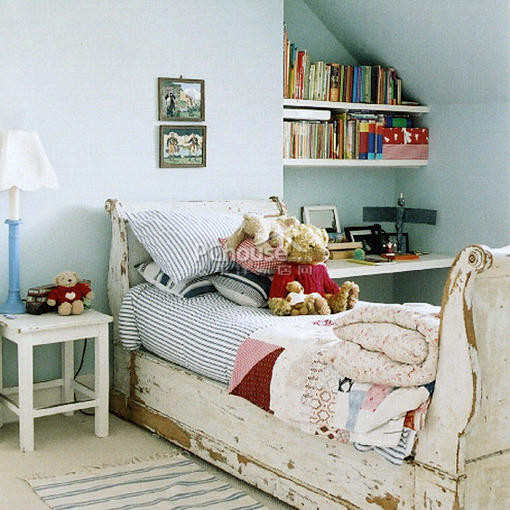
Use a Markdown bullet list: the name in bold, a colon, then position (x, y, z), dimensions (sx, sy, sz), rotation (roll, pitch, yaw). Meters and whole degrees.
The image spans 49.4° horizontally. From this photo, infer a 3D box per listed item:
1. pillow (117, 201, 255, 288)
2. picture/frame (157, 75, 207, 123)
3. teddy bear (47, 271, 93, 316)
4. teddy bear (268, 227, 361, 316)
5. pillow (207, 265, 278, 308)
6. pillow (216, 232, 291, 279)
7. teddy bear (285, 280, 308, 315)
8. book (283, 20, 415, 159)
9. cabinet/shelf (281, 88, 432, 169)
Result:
- **pillow**: position (-0.358, -0.042, 2.662), dimensions (0.398, 0.166, 0.581), rotation (-4, -31, 9)
- **picture/frame**: position (-0.401, -0.843, 3.034), dimensions (0.285, 0.222, 0.014), rotation (-13, 22, -41)
- **teddy bear**: position (-0.853, 0.171, 2.533), dimensions (0.202, 0.188, 0.115), rotation (-6, 27, -33)
- **teddy bear**: position (0.222, 0.075, 2.341), dimensions (0.418, 0.388, 0.265), rotation (-7, 9, -43)
- **pillow**: position (-0.054, 0.138, 2.445), dimensions (0.192, 0.085, 0.185), rotation (9, 7, -19)
- **pillow**: position (0.024, -0.015, 2.442), dimensions (0.181, 0.177, 0.056), rotation (-7, 45, 3)
- **teddy bear**: position (0.183, 0.168, 2.243), dimensions (0.094, 0.135, 0.099), rotation (-1, 4, 36)
- **book**: position (0.630, -1.033, 3.733), dimensions (1.104, 0.795, 0.200), rotation (-1, 4, -33)
- **cabinet/shelf**: position (0.650, -0.849, 3.918), dimensions (1.114, 0.379, 0.320), rotation (-2, 16, -14)
